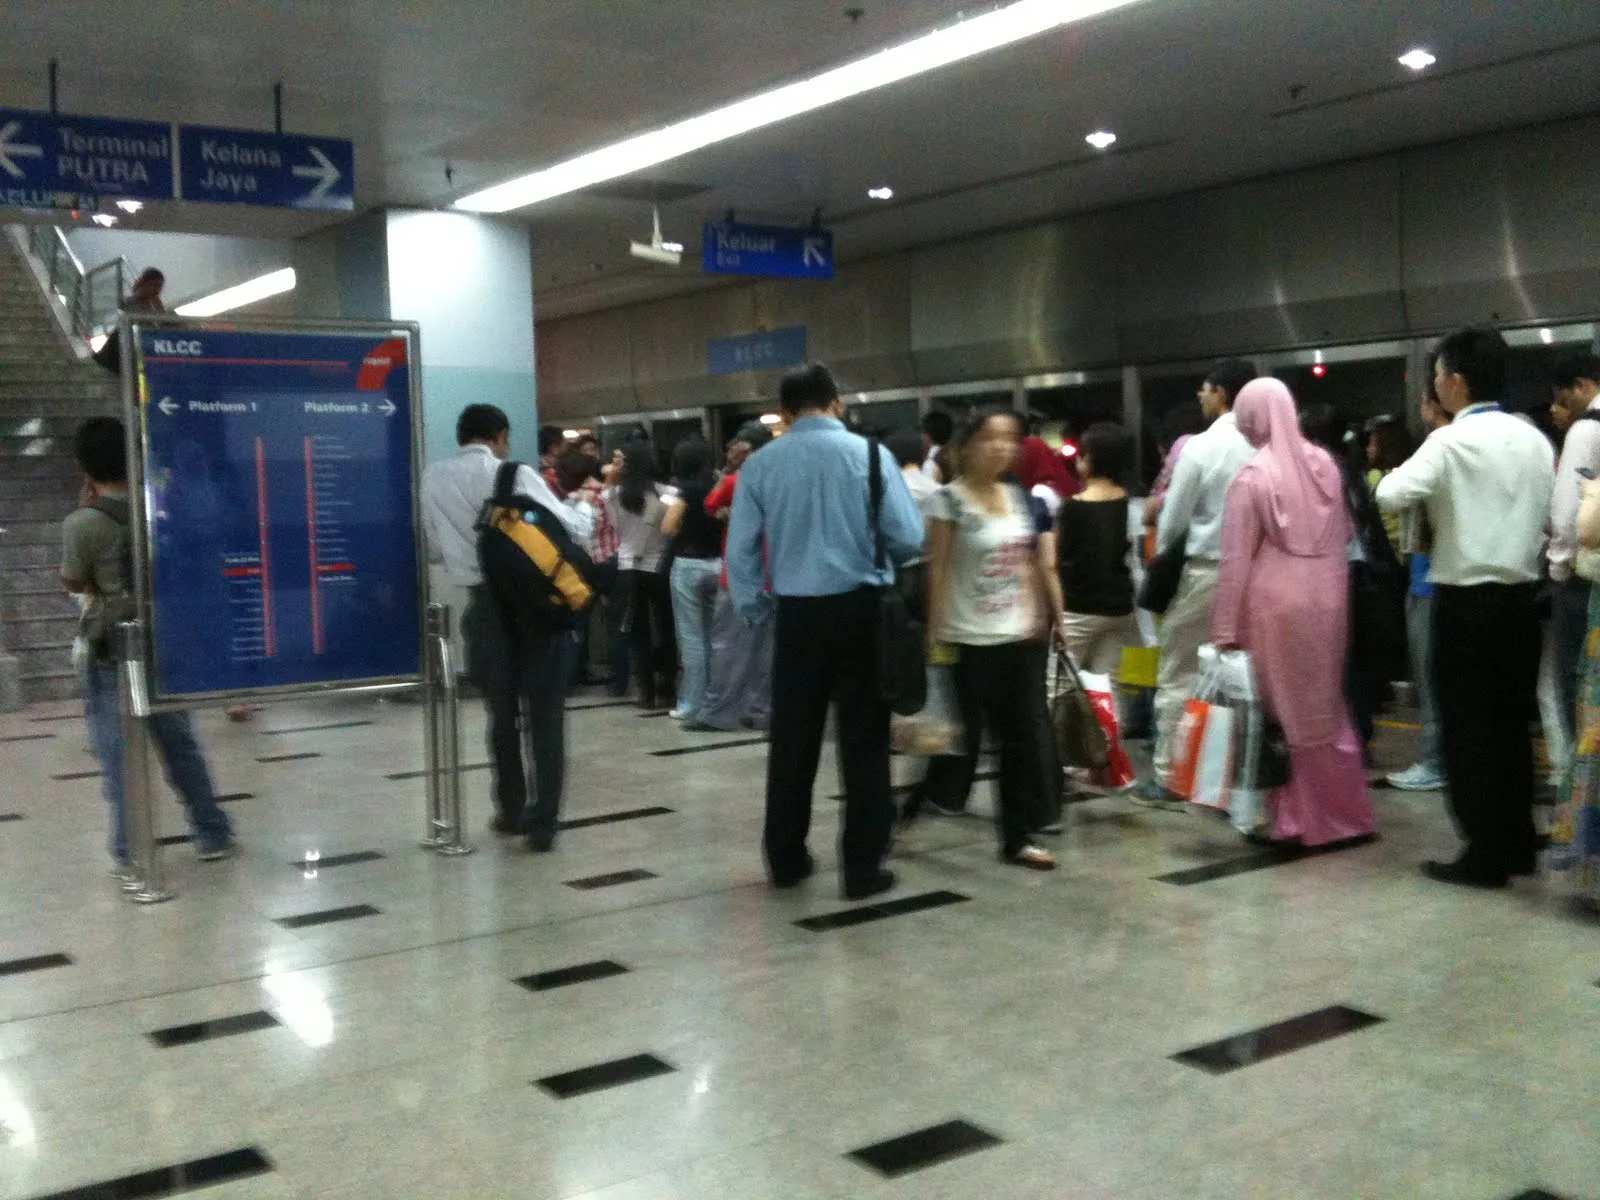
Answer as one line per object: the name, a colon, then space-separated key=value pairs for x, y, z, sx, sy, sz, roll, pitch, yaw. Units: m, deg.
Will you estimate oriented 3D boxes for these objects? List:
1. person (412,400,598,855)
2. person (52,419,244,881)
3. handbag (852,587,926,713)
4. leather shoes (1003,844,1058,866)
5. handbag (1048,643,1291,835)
person: x=-1.216 y=0.119 z=5.810 sx=0.815 sy=2.112 sz=0.641 roll=-14 pitch=28 yaw=-29
person: x=-2.756 y=0.179 z=5.389 sx=0.544 sy=1.910 sz=0.868 roll=-5 pitch=7 yaw=-29
handbag: x=0.365 y=0.187 z=4.727 sx=0.220 sy=0.460 sz=0.227 roll=-2 pitch=6 yaw=-1
leather shoes: x=0.940 y=1.026 z=5.158 sx=0.178 sy=0.078 sz=0.098 roll=-7 pitch=-6 yaw=44
handbag: x=1.604 y=0.611 z=5.521 sx=0.745 sy=0.496 sz=0.308 roll=12 pitch=30 yaw=40
